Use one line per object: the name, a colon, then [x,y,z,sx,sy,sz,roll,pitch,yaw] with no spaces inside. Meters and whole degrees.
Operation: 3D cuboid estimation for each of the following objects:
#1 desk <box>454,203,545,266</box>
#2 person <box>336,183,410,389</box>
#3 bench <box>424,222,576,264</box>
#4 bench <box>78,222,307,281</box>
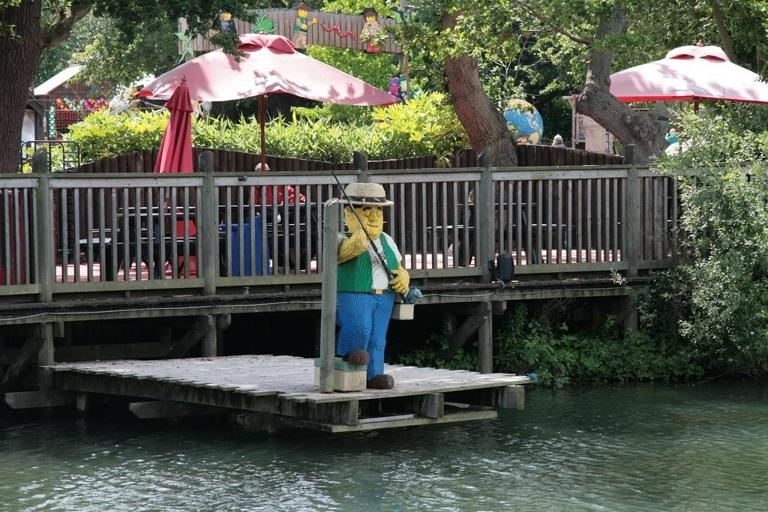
desk: [1.743,-0.259,24.039,1.185,1.041,0.996,0,0,-23]
person: [-0.183,0.425,20.115,0.904,2.757,0.544,-1,-1,-3]
bench: [2.005,-0.171,24.276,2.061,0.668,3.602,-2,-2,9]
bench: [-2.756,-0.153,22.645,3.441,1.062,2.189,-2,-2,-3]
